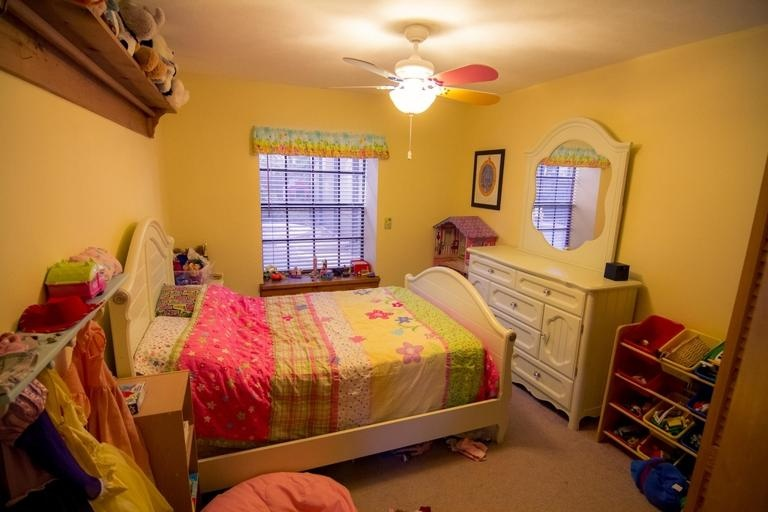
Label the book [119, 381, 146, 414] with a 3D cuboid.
[{"bbox_3d":[-1.305,0.723,2.613,0.132,0.032,0.135,18,16,-38],"label":"book"}]

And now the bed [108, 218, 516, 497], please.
[{"bbox_3d":[-0.519,0.664,3.662,2.279,1.579,1.629,-7,24,-20],"label":"bed"}]

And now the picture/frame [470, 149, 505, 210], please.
[{"bbox_3d":[1.057,-0.776,5.081,0.030,0.661,0.557,-4,14,-25],"label":"picture/frame"}]

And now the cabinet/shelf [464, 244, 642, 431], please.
[{"bbox_3d":[1.294,0.652,3.734,0.480,0.975,1.144,-4,16,-23],"label":"cabinet/shelf"}]

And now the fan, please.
[{"bbox_3d":[0.344,-1.237,3.387,0.847,0.547,0.850,2,8,12],"label":"fan"}]

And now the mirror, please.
[{"bbox_3d":[1.569,-0.496,4.076,0.153,1.422,1.105,-5,14,-24],"label":"mirror"}]

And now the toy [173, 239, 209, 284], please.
[{"bbox_3d":[-1.646,0.056,4.222,0.295,0.152,0.331,-7,32,-28],"label":"toy"}]

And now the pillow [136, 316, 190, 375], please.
[{"bbox_3d":[-1.335,0.550,3.018,0.247,0.071,0.333,1,28,-1],"label":"pillow"}]

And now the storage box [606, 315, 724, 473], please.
[{"bbox_3d":[1.819,0.890,3.242,0.321,0.909,0.891,-5,11,-27],"label":"storage box"}]

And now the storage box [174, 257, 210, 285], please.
[{"bbox_3d":[-1.596,0.123,4.147,0.230,0.143,0.226,-3,12,-35],"label":"storage box"}]

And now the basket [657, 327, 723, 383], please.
[{"bbox_3d":[1.969,0.624,3.280,0.402,0.133,0.269,-22,21,-30],"label":"basket"}]
